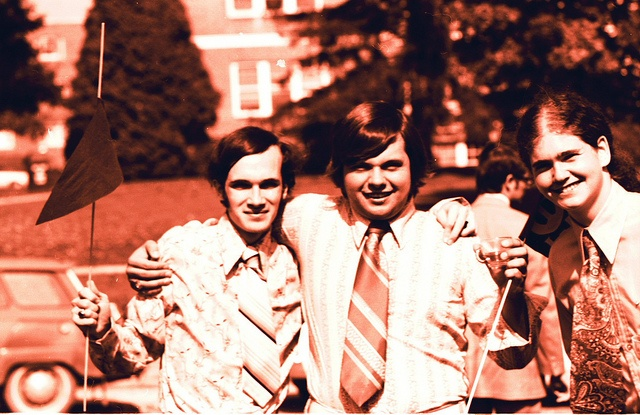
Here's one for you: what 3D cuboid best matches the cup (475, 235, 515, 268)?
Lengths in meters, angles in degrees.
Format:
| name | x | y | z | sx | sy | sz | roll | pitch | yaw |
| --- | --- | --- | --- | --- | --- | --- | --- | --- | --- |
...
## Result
| name | x | y | z | sx | sy | sz | roll | pitch | yaw |
| --- | --- | --- | --- | --- | --- | --- | --- | --- | --- |
| cup | 1.188 | 0.294 | 8.085 | 0.222 | 0.198 | 0.227 | 0 | -8 | 0 |

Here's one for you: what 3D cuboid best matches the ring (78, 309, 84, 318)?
| name | x | y | z | sx | sy | sz | roll | pitch | yaw |
| --- | --- | --- | --- | --- | --- | --- | --- | --- | --- |
| ring | -1.653 | 0.731 | 8.234 | 0.029 | 0.040 | 0.044 | -18 | 31 | -30 |
